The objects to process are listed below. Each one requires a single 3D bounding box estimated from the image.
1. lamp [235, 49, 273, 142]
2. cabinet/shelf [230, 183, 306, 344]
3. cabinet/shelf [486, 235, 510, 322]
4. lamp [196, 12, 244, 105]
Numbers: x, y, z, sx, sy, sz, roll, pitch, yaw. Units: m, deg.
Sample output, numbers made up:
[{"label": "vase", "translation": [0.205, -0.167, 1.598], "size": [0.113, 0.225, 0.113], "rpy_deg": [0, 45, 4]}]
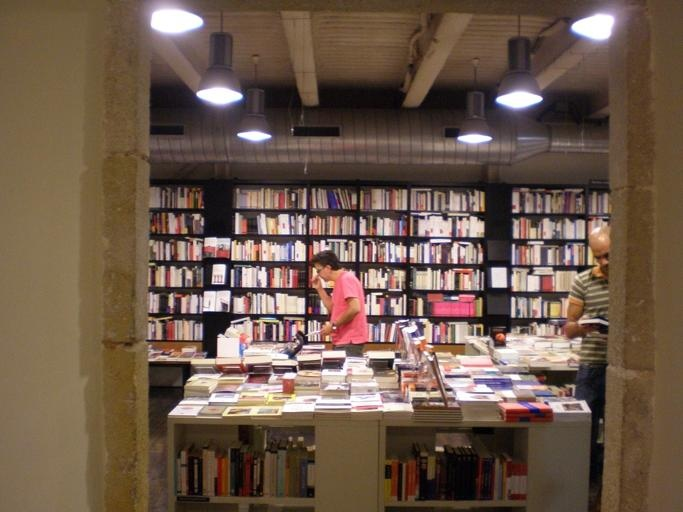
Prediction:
[{"label": "lamp", "translation": [-0.847, -1.505, 8.087], "size": [0.337, 0.911, 1.100], "rpy_deg": [0, -7, -7]}, {"label": "cabinet/shelf", "translation": [-0.811, 0.077, 9.312], "size": [0.836, 1.761, 0.397], "rpy_deg": [0, -7, -8]}, {"label": "cabinet/shelf", "translation": [1.738, 0.300, 9.175], "size": [0.290, 0.932, 0.166], "rpy_deg": [0, -7, -11]}, {"label": "lamp", "translation": [-0.976, -1.509, 6.607], "size": [0.347, 0.502, 0.334], "rpy_deg": [0, -7, -9]}]
